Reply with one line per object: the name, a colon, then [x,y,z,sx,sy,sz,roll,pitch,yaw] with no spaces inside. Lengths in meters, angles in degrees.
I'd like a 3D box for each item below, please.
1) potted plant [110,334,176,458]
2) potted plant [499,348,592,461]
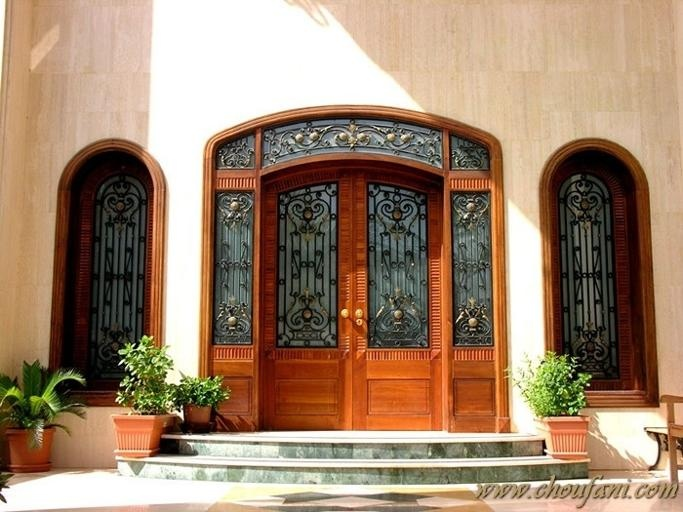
potted plant: [-2.128,1.511,8.299,0.713,1.263,0.651,-4,-10,14]
potted plant: [2.327,1.630,8.230,0.642,1.017,0.699,6,-17,-27]
